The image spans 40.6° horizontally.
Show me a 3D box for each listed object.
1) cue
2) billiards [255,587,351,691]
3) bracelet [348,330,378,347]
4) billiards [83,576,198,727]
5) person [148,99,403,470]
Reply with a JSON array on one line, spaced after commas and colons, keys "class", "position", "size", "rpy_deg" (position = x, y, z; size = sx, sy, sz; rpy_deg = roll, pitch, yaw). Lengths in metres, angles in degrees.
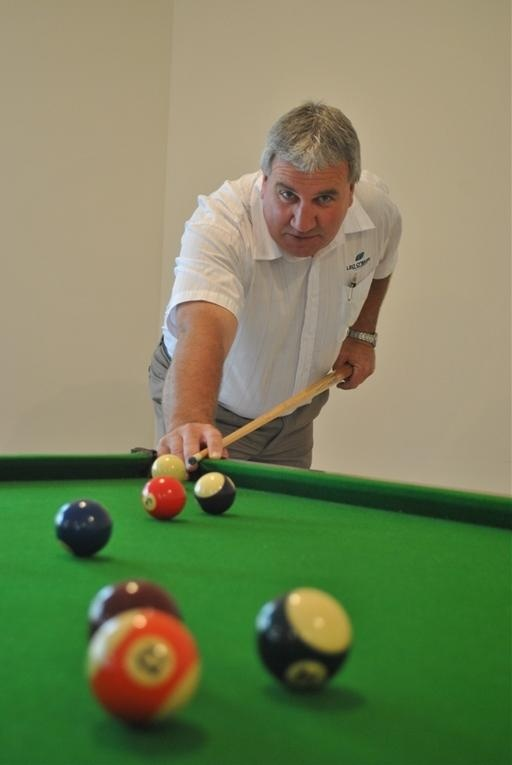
[{"class": "cue", "position": [0.152, 0.114, 2.754], "size": [0.076, 0.078, 1.549], "rpy_deg": [-26, 0, 30]}, {"class": "billiards", "position": [0.055, 0.265, 0.723], "size": [0.100, 0.095, 0.111], "rpy_deg": [4, 0, -10]}, {"class": "bracelet", "position": [0.501, -0.210, 3.214], "size": [0.099, 0.033, 0.097], "rpy_deg": [15, 3, 17]}, {"class": "billiards", "position": [-0.107, 0.243, 0.643], "size": [0.112, 0.078, 0.107], "rpy_deg": [7, 12, 4]}, {"class": "person", "position": [0.109, -0.376, 2.552], "size": [0.704, 1.287, 1.510], "rpy_deg": [4, 0, 14]}]
